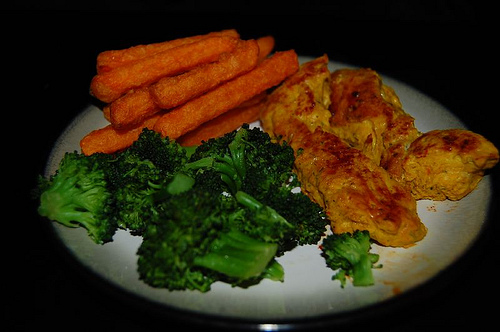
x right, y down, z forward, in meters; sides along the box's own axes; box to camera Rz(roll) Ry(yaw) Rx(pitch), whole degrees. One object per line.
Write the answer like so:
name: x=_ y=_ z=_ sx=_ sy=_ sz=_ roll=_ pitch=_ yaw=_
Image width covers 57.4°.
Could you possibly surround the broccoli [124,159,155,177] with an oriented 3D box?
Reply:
broccoli: x=-1.256 y=0.012 z=5.212 sx=0.316 sy=0.083 sz=0.140 roll=-25 pitch=89 yaw=-31
